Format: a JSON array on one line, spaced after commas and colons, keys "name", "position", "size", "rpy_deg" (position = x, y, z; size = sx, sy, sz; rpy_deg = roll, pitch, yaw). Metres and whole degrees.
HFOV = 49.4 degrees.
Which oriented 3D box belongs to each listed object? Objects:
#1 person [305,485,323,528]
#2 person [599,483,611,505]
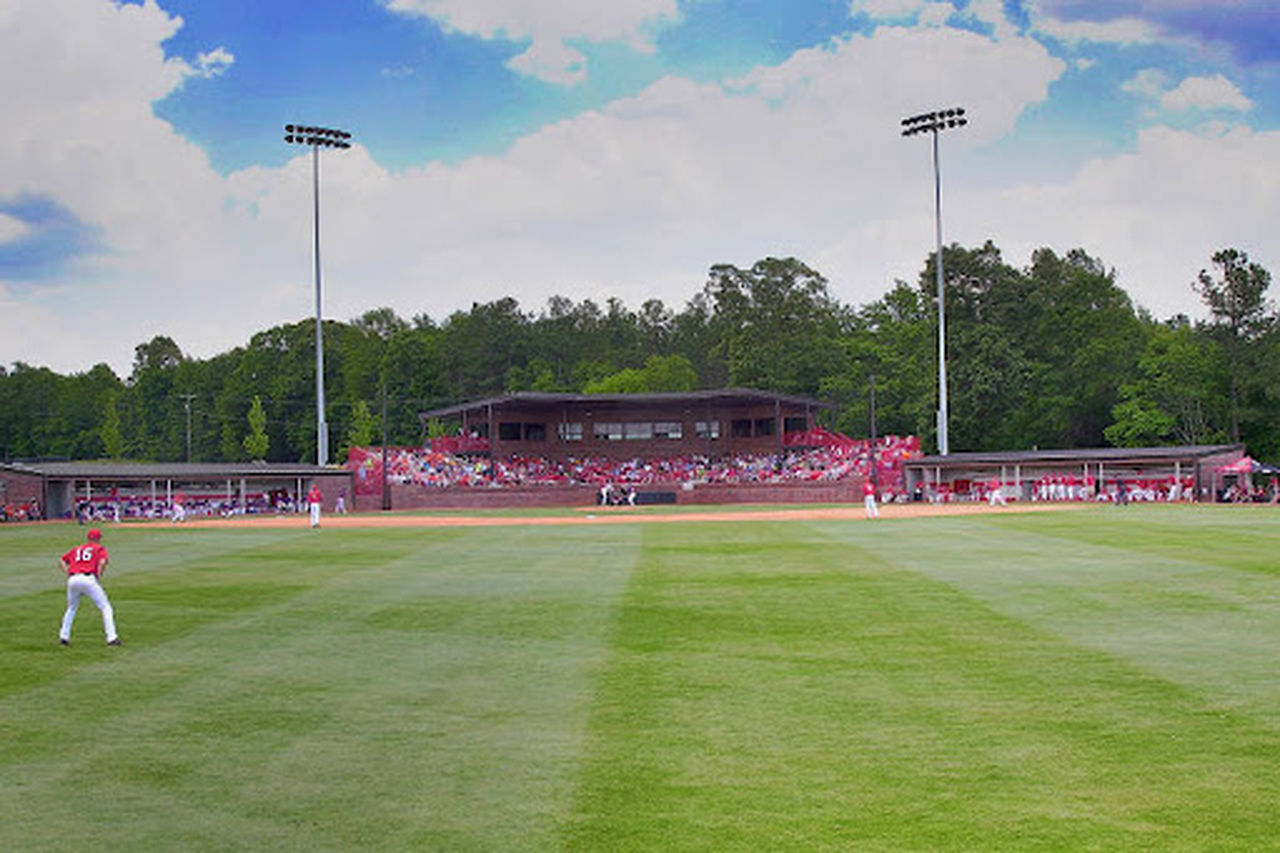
[{"name": "person", "position": [-12.650, 3.113, 53.985], "size": [0.316, 1.465, 1.041], "rpy_deg": [2, -4, -22]}, {"name": "person", "position": [-2.079, 3.932, 79.181], "size": [0.732, 0.959, 0.361], "rpy_deg": [0, 3, -6]}]
